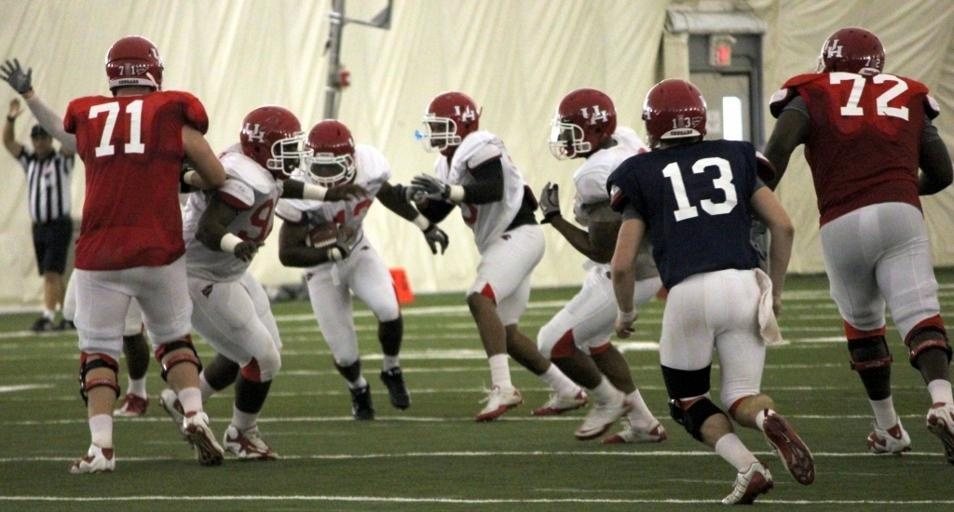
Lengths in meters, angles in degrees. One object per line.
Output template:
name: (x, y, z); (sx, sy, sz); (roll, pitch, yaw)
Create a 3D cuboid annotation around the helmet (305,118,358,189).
helmet: (-1.214, -0.852, 10.352); (0.449, 0.455, 0.549); (0, 35, 2)

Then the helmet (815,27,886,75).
helmet: (3.003, -1.628, 9.852); (0.480, 0.396, 0.361); (23, 5, 35)

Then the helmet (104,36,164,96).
helmet: (-2.735, -1.543, 9.889); (0.378, 0.401, 0.480); (0, 1, 6)

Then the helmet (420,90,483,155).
helmet: (-0.258, -1.198, 11.004); (0.586, 0.542, 0.455); (-2, -1, -9)

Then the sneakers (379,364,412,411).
sneakers: (-0.707, 1.161, 10.790); (0.178, 0.468, 0.215); (-28, 7, -1)

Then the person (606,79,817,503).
person: (1.747, 0.250, 9.211); (1.480, 3.049, 0.838); (6, 15, 28)

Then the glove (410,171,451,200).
glove: (-0.389, -0.582, 10.355); (0.332, 0.217, 0.180); (-2, 13, -4)

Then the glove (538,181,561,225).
glove: (0.600, -0.428, 10.142); (0.153, 0.357, 0.327); (-1, 13, 1)

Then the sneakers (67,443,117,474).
sneakers: (-2.967, 1.592, 9.586); (0.369, 0.238, 0.187); (1, -2, 4)

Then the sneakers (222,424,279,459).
sneakers: (-1.827, 1.501, 9.918); (0.438, 0.194, 0.235); (6, 4, 36)

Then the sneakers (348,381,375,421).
sneakers: (-0.998, 1.286, 10.648); (0.150, 0.151, 0.388); (-11, 48, -7)

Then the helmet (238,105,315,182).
helmet: (-1.637, -0.966, 10.208); (0.614, 0.577, 0.463); (3, 5, 7)

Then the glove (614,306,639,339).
glove: (1.173, 0.519, 9.394); (0.104, 0.235, 0.178); (13, 7, -16)
